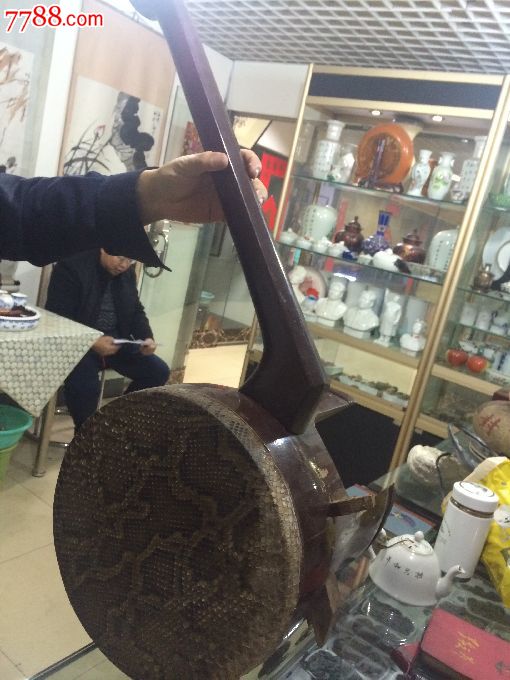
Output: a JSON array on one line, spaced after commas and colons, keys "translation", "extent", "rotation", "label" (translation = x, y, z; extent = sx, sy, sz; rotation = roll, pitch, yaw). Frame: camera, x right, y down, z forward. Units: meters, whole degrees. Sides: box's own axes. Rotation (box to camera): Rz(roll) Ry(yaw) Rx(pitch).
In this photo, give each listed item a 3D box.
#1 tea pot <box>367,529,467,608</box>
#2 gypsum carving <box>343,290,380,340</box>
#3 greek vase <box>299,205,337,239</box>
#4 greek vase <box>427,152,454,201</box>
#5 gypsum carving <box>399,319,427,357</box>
[{"translation": [0.283, 0.400, 0.968], "extent": [0.188, 0.100, 0.140], "rotation": [3, -1, 24], "label": "tea pot"}, {"translation": [0.612, -0.131, 2.968], "extent": [0.215, 0.259, 0.126], "rotation": [28, 11, 34], "label": "gypsum carving"}, {"translation": [0.372, -0.679, 3.070], "extent": [0.209, 0.205, 0.204], "rotation": [6, 12, 10], "label": "greek vase"}, {"translation": [0.957, -0.827, 2.689], "extent": [0.121, 0.233, 0.094], "rotation": [24, 16, 29], "label": "greek vase"}, {"translation": [0.844, -0.016, 2.783], "extent": [0.035, 0.196, 0.136], "rotation": [7, 17, -35], "label": "gypsum carving"}]
